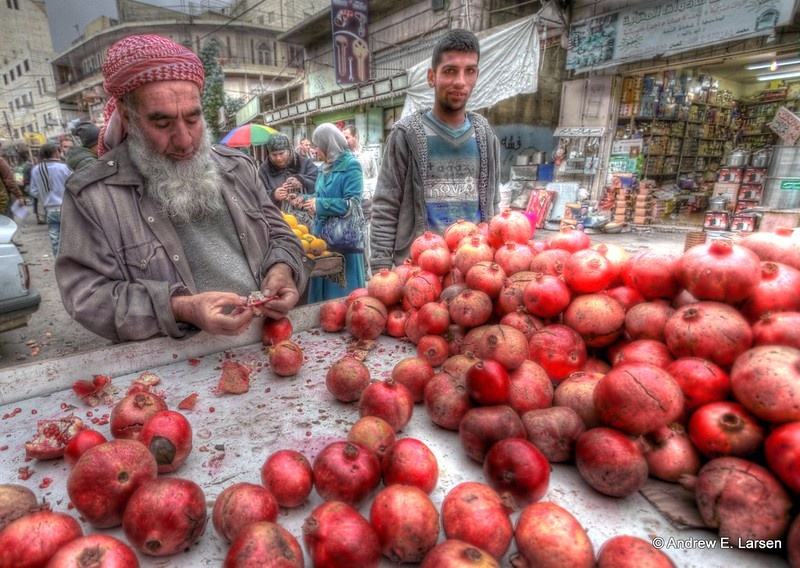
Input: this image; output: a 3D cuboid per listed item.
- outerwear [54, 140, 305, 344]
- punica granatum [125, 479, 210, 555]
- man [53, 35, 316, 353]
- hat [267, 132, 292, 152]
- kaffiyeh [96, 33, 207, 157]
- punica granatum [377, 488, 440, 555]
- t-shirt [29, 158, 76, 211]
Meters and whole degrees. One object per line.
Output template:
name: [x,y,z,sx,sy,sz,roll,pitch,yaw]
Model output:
outerwear: [-1.519,-0.375,3.293,0.895,1.388,1.698,-1,7,32]
punica granatum: [-0.922,0.903,1.712,0.284,0.300,0.265,12,-23,-37]
man: [-1.441,-0.661,3.029,1.387,1.868,1.578,19,28,35]
hat: [-1.757,-2.069,6.452,0.298,0.307,0.237,-21,29,-35]
kaffiyeh: [-1.578,-1.165,2.847,0.502,0.733,0.531,2,4,-32]
punica granatum: [0.005,0.927,1.732,0.205,0.239,0.265,7,45,-9]
t-shirt: [-6.887,-1.963,8.892,0.816,0.954,0.630,-7,11,-28]
